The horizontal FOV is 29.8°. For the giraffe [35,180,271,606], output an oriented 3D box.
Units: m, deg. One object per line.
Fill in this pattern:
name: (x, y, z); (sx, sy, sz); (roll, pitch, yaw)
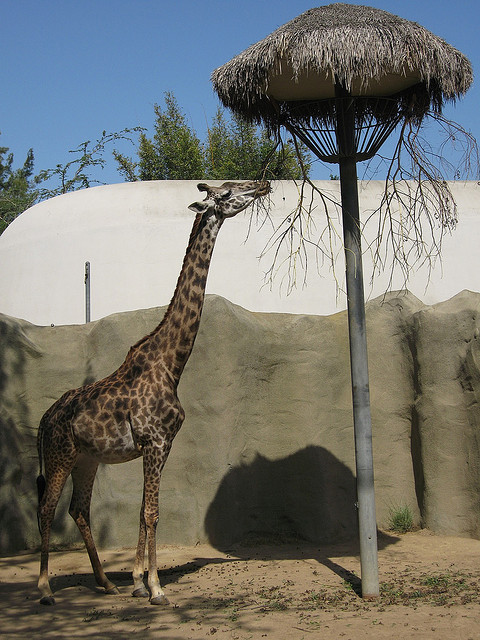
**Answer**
giraffe: (-0.904, 0.592, 8.173); (2.125, 3.679, 0.815); (-4, -2, -1)
